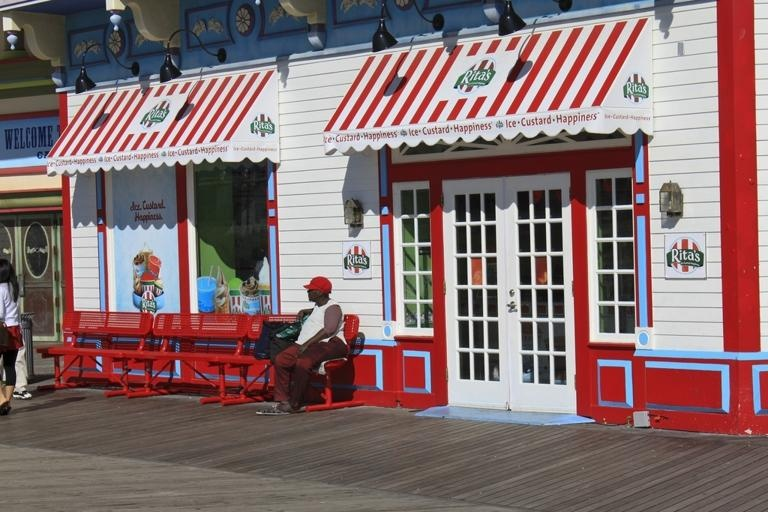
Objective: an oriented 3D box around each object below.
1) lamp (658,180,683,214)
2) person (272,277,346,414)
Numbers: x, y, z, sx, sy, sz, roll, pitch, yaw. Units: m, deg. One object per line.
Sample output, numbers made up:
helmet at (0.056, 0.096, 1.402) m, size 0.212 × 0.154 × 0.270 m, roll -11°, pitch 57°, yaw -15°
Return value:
lamp at (3.732, -0.721, 13.440) m, size 0.281 × 0.420 × 0.120 m, roll 0°, pitch 6°, yaw 19°
person at (-1.155, 1.239, 15.039) m, size 1.025 × 1.907 × 0.760 m, roll 1°, pitch -1°, yaw -41°
